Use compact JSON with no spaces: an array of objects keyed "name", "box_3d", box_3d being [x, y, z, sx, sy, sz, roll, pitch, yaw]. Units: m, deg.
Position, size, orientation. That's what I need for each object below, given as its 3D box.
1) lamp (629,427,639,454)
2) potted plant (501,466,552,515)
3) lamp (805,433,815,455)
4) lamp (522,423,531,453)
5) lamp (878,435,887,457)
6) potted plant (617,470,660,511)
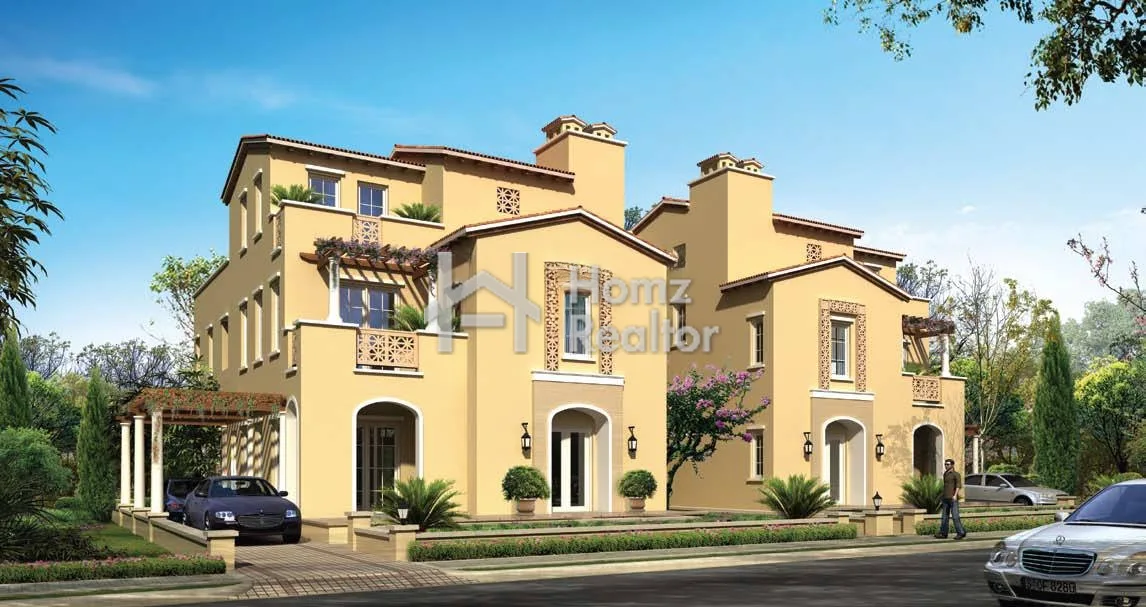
[{"name":"lamp","box_3d":[2.879,6.547,47.987,0.676,1.411,0.215,7,-16,-27]},{"name":"potted plant","box_3d":[-2.101,8.447,46.226,2.295,2.095,2.001,5,-11,-24]},{"name":"lamp","box_3d":[12.235,7.176,51.971,0.587,1.119,0.280,2,-14,-10]},{"name":"lamp","box_3d":[-2.140,6.237,46.461,0.597,1.450,0.324,11,-18,-38]},{"name":"lamp","box_3d":[16.370,7.473,53.458,0.640,1.104,0.223,9,-17,-34]},{"name":"potted plant","box_3d":[3.157,8.816,47.908,1.829,1.843,1.891,-1,-4,7]}]
